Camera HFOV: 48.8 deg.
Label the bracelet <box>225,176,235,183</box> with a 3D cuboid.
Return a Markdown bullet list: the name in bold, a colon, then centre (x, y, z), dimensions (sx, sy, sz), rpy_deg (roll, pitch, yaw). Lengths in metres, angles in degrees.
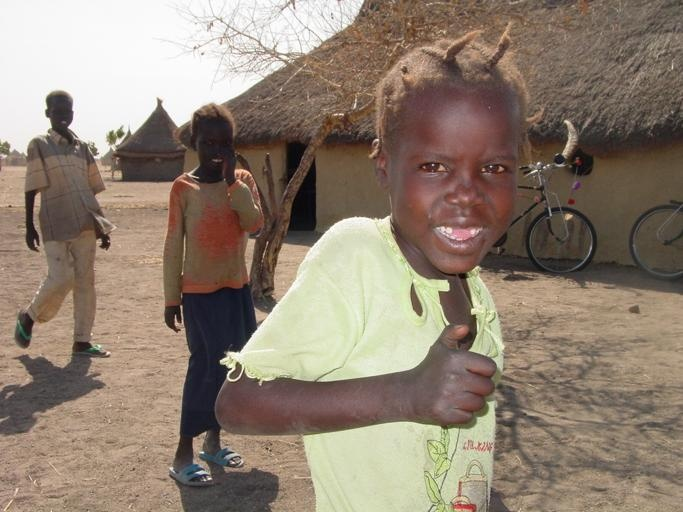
- **bracelet**: centre (-0.827, -0.576, 5.623), dimensions (0.062, 0.048, 0.056), rpy_deg (0, -2, -6)

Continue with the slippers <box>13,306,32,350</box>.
- **slippers**: centre (-3.016, 0.678, 7.303), dimensions (0.183, 0.387, 0.161), rpy_deg (-1, 5, 30)

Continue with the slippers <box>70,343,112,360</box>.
- **slippers**: centre (-2.445, 0.916, 7.380), dimensions (0.383, 0.123, 0.147), rpy_deg (1, 3, -9)

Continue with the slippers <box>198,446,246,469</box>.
- **slippers**: centre (-0.905, 1.517, 5.746), dimensions (0.325, 0.083, 0.127), rpy_deg (1, -1, 31)

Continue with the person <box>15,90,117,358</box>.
- **person**: centre (-2.682, -0.305, 7.247), dimensions (0.970, 2.524, 0.582), rpy_deg (-6, 13, -28)

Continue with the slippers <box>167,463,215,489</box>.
- **slippers**: centre (-1.085, 1.590, 5.522), dimensions (0.285, 0.078, 0.152), rpy_deg (-3, -3, 41)
